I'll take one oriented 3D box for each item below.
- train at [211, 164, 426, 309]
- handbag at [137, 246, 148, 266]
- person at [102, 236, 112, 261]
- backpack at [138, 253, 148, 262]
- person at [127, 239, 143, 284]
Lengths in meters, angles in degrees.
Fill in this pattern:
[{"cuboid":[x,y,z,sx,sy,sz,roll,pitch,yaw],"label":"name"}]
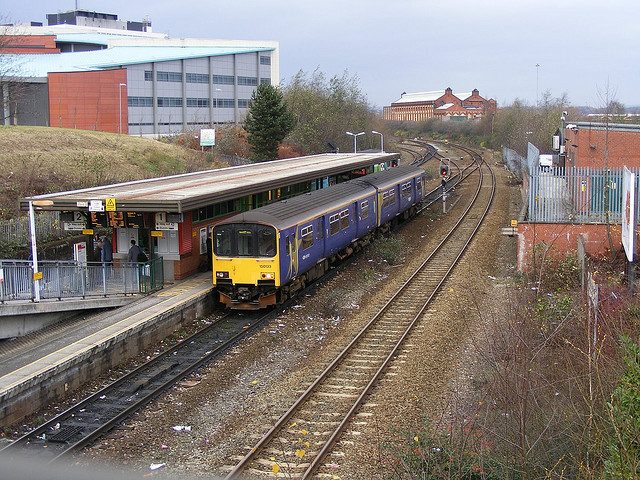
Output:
[{"cuboid":[1.267,-1.656,30.124,2.583,4.339,23.007,1,13,22],"label":"train"},{"cuboid":[-6.069,0.667,20.812,0.283,0.587,0.555,0,13,8],"label":"handbag"},{"cuboid":[-7.489,0.410,21.466,0.318,0.795,0.608,-4,10,-19],"label":"person"},{"cuboid":[-6.038,0.642,20.843,0.182,0.365,0.343,1,5,29],"label":"backpack"},{"cuboid":[-6.174,0.851,20.391,0.456,1.115,1.051,-4,10,-16],"label":"person"}]
